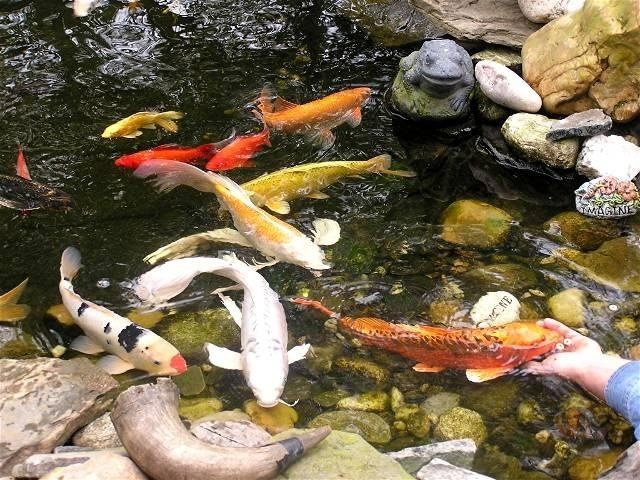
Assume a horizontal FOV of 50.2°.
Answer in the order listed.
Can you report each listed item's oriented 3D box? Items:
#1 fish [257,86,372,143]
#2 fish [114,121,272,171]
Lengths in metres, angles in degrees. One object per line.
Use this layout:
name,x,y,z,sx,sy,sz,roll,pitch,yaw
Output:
fish,-0.115,-1.429,7.907,1.354,0.515,0.705,-2,36,7
fish,-1.450,-1.019,7.557,1.406,0.292,0.456,-9,40,-7
